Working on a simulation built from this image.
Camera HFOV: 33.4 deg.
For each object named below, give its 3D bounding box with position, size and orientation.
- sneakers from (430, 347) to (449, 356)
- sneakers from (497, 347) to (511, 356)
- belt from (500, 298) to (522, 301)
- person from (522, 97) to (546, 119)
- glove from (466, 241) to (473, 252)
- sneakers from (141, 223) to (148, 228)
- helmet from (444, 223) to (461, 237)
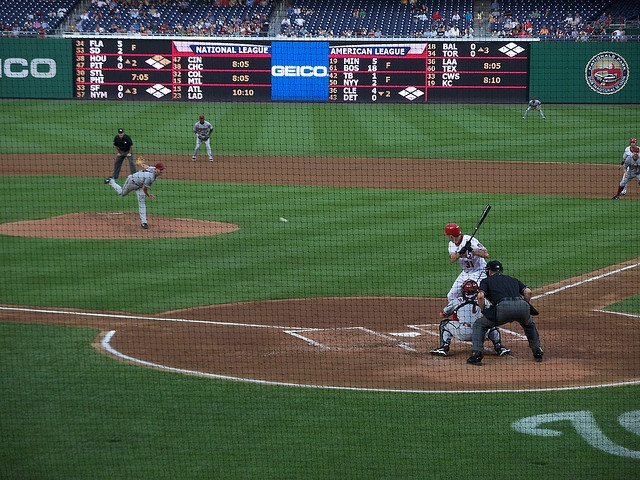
[{"bbox_3d":[2.663,2.538,24.310,0.513,0.158,0.208,2,36,18],"label":"sneakers"},{"bbox_3d":[4.186,2.559,24.312,0.172,0.121,0.364,-3,-4,30],"label":"sneakers"},{"bbox_3d":[4.242,1.322,23.718,0.435,0.066,0.045,-2,12,-8],"label":"belt"},{"bbox_3d":[9.743,-6.059,48.712,1.175,0.953,0.746,3,47,16],"label":"person"},{"bbox_3d":[3.446,0.151,24.626,0.265,0.215,0.080,1,-7,4],"label":"glove"},{"bbox_3d":[-5.152,-0.426,31.405,0.140,0.210,0.311,-9,-4,-7],"label":"sneakers"},{"bbox_3d":[3.171,-0.243,24.962,0.424,0.276,0.631,10,-4,10],"label":"helmet"}]
